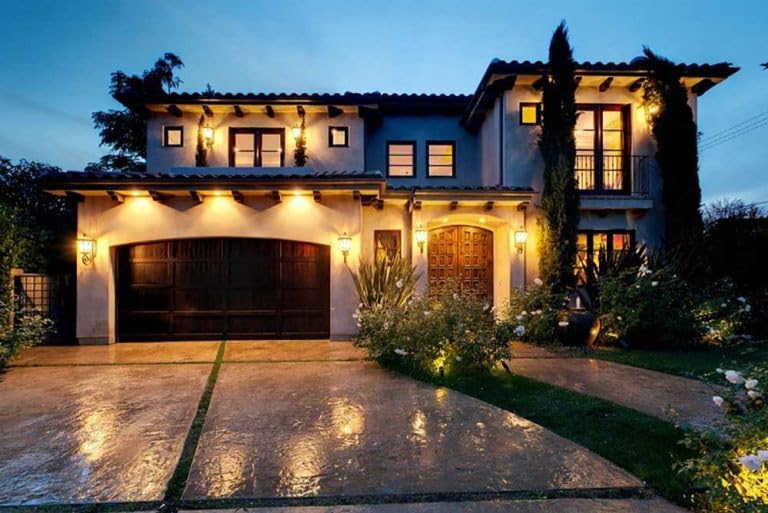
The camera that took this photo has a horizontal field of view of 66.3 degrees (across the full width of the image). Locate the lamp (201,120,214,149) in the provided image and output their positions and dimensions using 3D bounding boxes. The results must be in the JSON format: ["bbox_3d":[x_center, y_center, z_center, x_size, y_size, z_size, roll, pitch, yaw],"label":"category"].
[{"bbox_3d":[-7.051,-4.906,23.678,0.226,0.990,0.671,0,0,13],"label":"lamp"}]

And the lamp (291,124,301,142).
[{"bbox_3d":[-3.507,-5.072,23.900,0.263,0.701,0.697,0,0,-28],"label":"lamp"}]

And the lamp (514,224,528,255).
[{"bbox_3d":[5.088,-0.657,21.930,0.355,1.026,0.301,0,0,-18],"label":"lamp"}]

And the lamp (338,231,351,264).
[{"bbox_3d":[-1.391,-0.368,21.353,0.489,1.051,0.198,0,0,-5],"label":"lamp"}]

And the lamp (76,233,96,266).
[{"bbox_3d":[-10.489,-0.295,20.838,0.579,1.109,0.175,0,0,-12],"label":"lamp"}]
